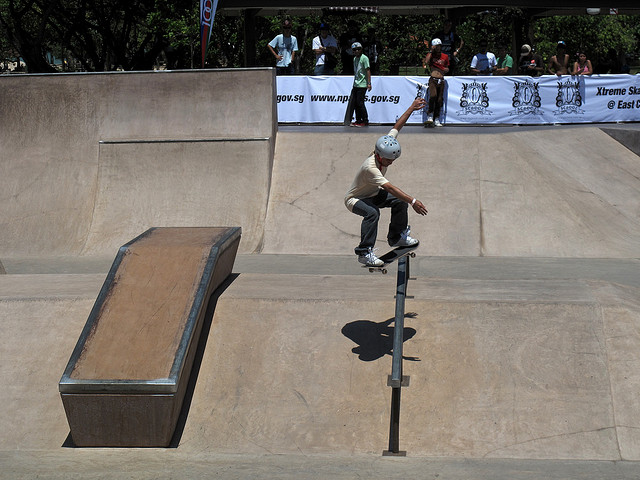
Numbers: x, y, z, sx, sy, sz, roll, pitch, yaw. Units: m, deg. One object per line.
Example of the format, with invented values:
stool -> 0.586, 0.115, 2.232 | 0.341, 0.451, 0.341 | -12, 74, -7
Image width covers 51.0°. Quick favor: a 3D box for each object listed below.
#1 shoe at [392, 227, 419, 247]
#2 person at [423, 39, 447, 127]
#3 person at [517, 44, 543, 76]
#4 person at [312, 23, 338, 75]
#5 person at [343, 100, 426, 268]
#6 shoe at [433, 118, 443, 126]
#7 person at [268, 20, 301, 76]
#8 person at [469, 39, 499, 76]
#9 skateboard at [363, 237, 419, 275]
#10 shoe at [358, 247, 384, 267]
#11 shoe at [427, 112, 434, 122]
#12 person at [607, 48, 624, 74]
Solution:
shoe -> 1.139, -0.026, 8.360 | 0.121, 0.156, 0.371 | 26, 27, 35
person -> 2.560, -3.457, 14.872 | 0.481, 1.832, 0.733 | 3, 14, 9
person -> 5.428, -4.608, 17.228 | 0.589, 0.753, 1.017 | 5, 14, 16
person -> 0.143, -4.606, 16.191 | 0.557, 1.207, 0.811 | 1, 14, 0
person -> 0.865, -0.750, 8.345 | 0.971, 1.965, 0.862 | -1, 21, -7
shoe -> 2.697, -2.679, 15.224 | 0.154, 0.163, 0.240 | 11, 17, 38
person -> -0.884, -4.755, 16.509 | 0.693, 1.400, 2.152 | 0, 13, -3
person -> 3.997, -4.292, 16.281 | 0.773, 1.081, 0.684 | -6, 24, -3
skateboard -> 0.971, 0.270, 8.334 | 0.873, 0.144, 0.304 | -33, 25, 1
shoe -> 0.636, 0.227, 8.418 | 0.387, 0.218, 0.142 | 7, 14, 43
shoe -> 2.496, -2.756, 15.049 | 0.127, 0.201, 0.267 | 3, 14, 9
person -> 8.705, -5.267, 19.716 | 0.407, 0.752, 2.336 | 6, 14, 20
